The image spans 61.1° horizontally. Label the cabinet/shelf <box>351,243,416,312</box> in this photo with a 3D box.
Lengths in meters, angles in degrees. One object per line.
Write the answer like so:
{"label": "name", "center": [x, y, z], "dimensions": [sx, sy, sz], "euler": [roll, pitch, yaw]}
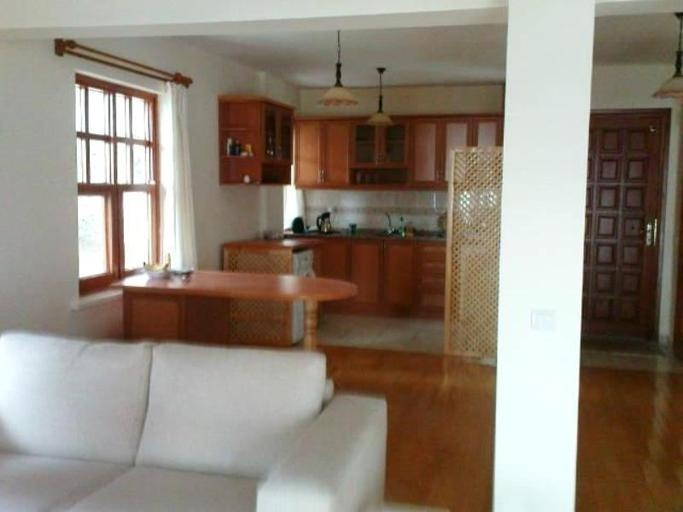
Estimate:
{"label": "cabinet/shelf", "center": [0.563, 0.236, 7.469], "dimensions": [0.844, 1.036, 0.355], "euler": [0, 4, 9]}

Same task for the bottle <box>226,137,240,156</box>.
{"label": "bottle", "center": [-1.211, -1.214, 6.394], "dimensions": [0.173, 0.195, 0.136], "euler": [3, 9, 1]}

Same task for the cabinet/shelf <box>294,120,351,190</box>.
{"label": "cabinet/shelf", "center": [-0.245, -1.428, 8.011], "dimensions": [0.883, 1.078, 0.536], "euler": [1, 3, 10]}

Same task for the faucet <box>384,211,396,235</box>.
{"label": "faucet", "center": [0.699, -0.477, 8.216], "dimensions": [0.130, 0.285, 0.182], "euler": [1, 10, -11]}

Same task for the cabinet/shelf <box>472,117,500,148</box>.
{"label": "cabinet/shelf", "center": [1.924, -1.633, 7.590], "dimensions": [0.309, 0.351, 0.086], "euler": [4, 9, 11]}

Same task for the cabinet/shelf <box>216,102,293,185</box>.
{"label": "cabinet/shelf", "center": [-1.023, -1.286, 6.493], "dimensions": [0.329, 0.717, 0.945], "euler": [2, 8, 14]}

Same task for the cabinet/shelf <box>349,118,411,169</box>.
{"label": "cabinet/shelf", "center": [0.540, -1.547, 7.814], "dimensions": [0.661, 0.580, 0.228], "euler": [1, 3, 10]}

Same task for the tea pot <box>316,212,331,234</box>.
{"label": "tea pot", "center": [-0.266, -0.465, 8.121], "dimensions": [0.293, 0.305, 0.193], "euler": [-1, 0, 43]}
